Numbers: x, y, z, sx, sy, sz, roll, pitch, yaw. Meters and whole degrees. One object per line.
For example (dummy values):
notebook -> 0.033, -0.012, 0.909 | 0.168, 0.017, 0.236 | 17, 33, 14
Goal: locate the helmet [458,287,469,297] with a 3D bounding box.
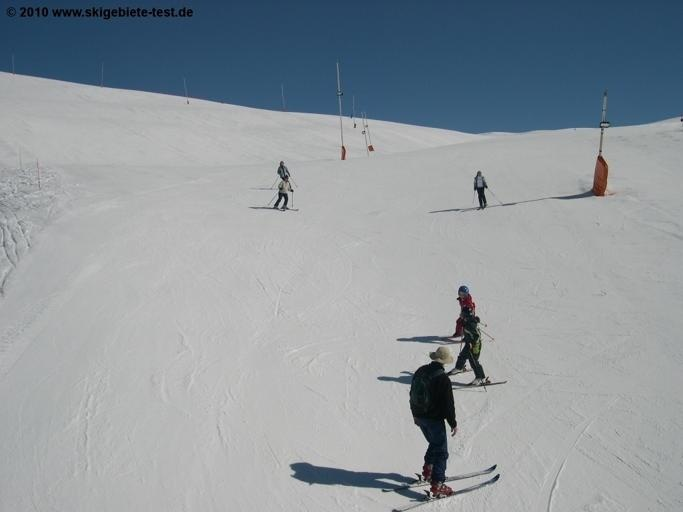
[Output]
helmet -> 2.567, 0.741, 11.722 | 0.194, 0.263, 0.248 | 2, 4, 25

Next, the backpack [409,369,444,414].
backpack -> 1.331, 2.137, 8.674 | 0.504, 0.820, 0.444 | 1, -2, 37

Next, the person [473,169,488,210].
person -> 4.408, -2.100, 17.438 | 0.408, 1.102, 1.097 | 5, 16, 14

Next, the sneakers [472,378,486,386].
sneakers -> 2.618, 2.389, 10.531 | 0.282, 0.123, 0.145 | 5, 16, 12

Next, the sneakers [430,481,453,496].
sneakers -> 1.548, 3.576, 8.489 | 0.359, 0.199, 0.084 | -1, 15, -6

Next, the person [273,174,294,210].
person -> -1.852, -2.085, 17.541 | 0.534, 0.985, 1.753 | 0, 16, -4

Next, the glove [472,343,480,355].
glove -> 2.579, 1.785, 10.653 | 0.132, 0.271, 0.178 | -4, 3, 43
